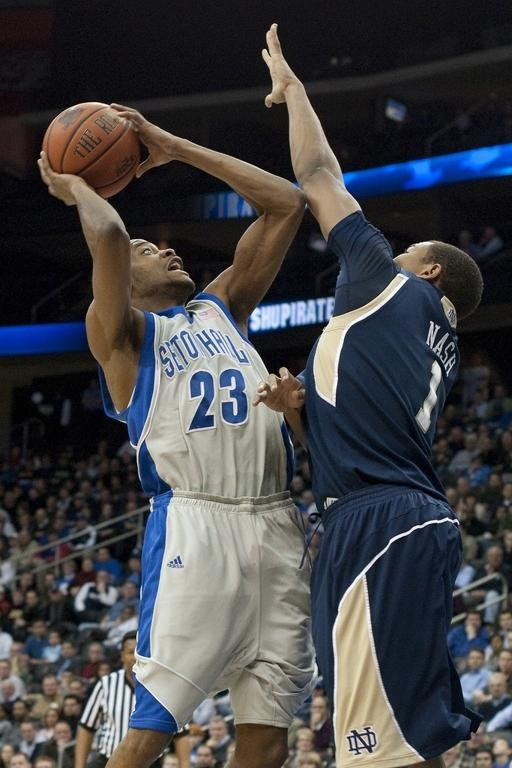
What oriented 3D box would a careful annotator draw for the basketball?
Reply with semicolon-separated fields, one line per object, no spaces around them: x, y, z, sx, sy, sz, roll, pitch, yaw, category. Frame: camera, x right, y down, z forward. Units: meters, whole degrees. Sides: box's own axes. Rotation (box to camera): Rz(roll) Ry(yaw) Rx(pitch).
-0.623;-0.905;3.836;0.395;0.375;0.351;-14;27;-24;basketball
